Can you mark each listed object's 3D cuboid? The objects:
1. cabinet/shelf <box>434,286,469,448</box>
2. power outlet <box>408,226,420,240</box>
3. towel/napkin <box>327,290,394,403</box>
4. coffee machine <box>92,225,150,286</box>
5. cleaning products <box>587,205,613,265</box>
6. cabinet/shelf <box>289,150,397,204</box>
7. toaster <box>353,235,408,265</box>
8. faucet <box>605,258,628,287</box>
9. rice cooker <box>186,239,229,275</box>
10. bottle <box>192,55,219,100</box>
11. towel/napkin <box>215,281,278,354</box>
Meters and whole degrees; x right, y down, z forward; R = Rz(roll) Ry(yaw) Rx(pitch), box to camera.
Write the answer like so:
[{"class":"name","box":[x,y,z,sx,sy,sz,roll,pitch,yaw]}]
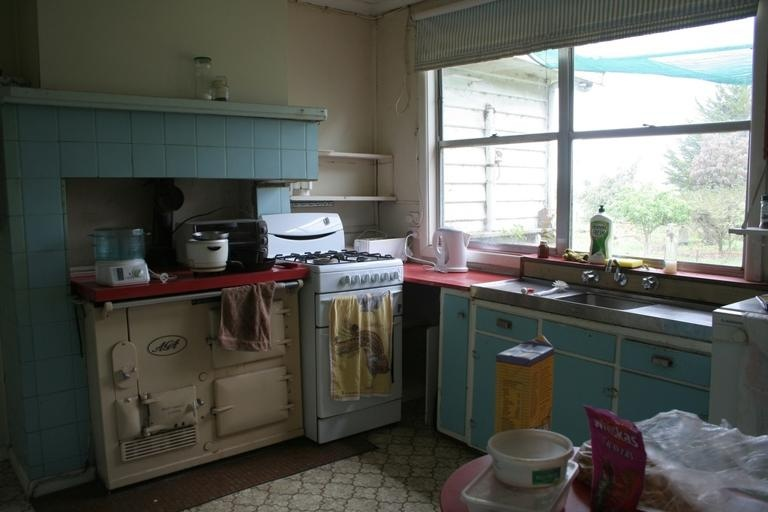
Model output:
[{"class":"cabinet/shelf","box":[0.539,0.765,3.949,0.339,1.012,0.283,-3,-11,32]},{"class":"power outlet","box":[0.250,-0.203,4.865,0.089,0.112,0.118,4,16,8]},{"class":"towel/napkin","box":[-0.146,0.607,3.894,0.507,0.698,0.210,-5,15,-19]},{"class":"coffee machine","box":[-1.587,-0.002,3.443,0.351,0.331,0.274,5,6,34]},{"class":"cleaning products","box":[1.412,-0.138,3.697,0.135,0.348,0.201,-1,14,-2]},{"class":"cabinet/shelf","box":[-0.387,-0.688,4.853,0.956,0.389,0.241,-4,7,-30]},{"class":"toaster","box":[0.015,-0.077,4.704,0.323,0.204,0.228,0,21,-25]},{"class":"faucet","box":[1.451,0.105,3.539,0.095,0.183,0.115,6,-22,-14]},{"class":"rice cooker","box":[-1.147,0.004,3.656,0.268,0.218,0.273,4,5,44]},{"class":"bottle","box":[-1.207,-1.195,3.794,0.145,0.263,0.105,-7,16,-26]},{"class":"towel/napkin","box":[-0.894,0.379,3.595,0.489,0.603,0.071,0,0,-27]}]
